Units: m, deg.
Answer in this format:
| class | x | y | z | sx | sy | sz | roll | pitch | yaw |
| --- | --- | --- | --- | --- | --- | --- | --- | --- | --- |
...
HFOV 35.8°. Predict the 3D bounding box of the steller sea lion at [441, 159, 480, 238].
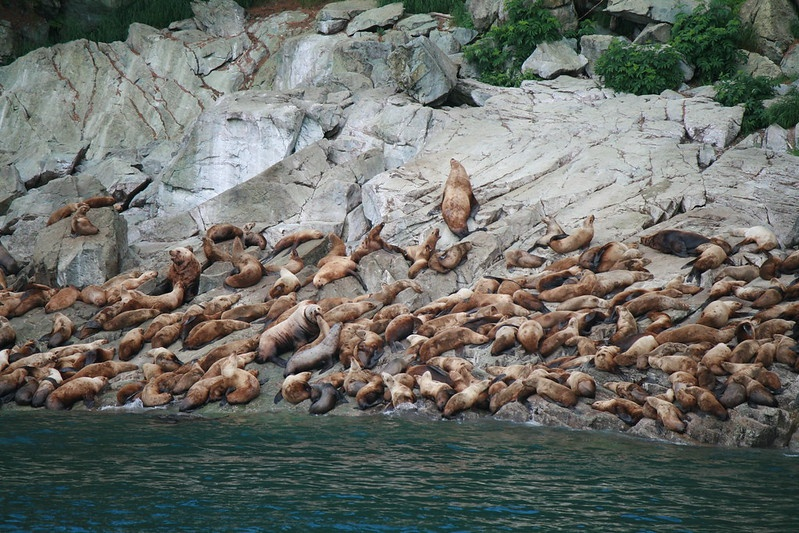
| class | x | y | z | sx | sy | sz | roll | pitch | yaw |
| --- | --- | --- | --- | --- | --- | --- | --- | --- | --- |
| steller sea lion | 1.580 | -2.054 | 34.551 | 1.122 | 0.628 | 2.480 | 0 | 55 | -3 |
